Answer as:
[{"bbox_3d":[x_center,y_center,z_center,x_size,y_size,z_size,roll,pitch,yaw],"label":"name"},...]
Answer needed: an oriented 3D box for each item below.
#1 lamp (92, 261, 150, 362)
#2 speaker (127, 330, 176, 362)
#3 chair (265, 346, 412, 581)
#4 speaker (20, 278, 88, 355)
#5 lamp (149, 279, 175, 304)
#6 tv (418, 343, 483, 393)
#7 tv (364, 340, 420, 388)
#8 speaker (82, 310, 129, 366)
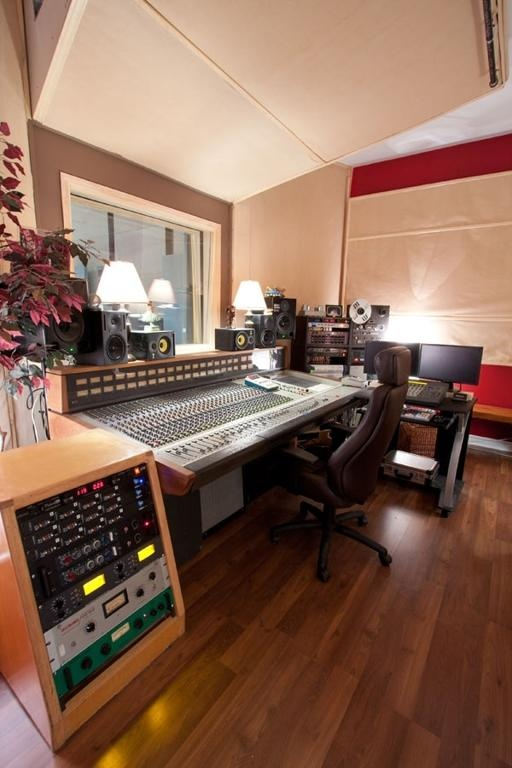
[{"bbox_3d":[-0.659,-0.433,2.213,0.216,0.233,0.227,-19,35,-34],"label":"lamp"},{"bbox_3d":[-0.504,-0.211,2.264,0.161,0.111,0.161,10,14,33],"label":"speaker"},{"bbox_3d":[0.400,0.298,2.184,0.548,1.057,0.552,-12,22,-41],"label":"chair"},{"bbox_3d":[-0.813,-0.277,1.906,0.219,0.301,0.192,3,5,29],"label":"speaker"},{"bbox_3d":[-0.607,-0.610,3.051,0.149,0.163,0.158,4,7,12],"label":"lamp"},{"bbox_3d":[1.266,-0.116,3.047,0.321,0.242,0.101,15,38,42],"label":"tv"},{"bbox_3d":[0.746,-0.115,2.503,0.031,0.223,0.290,-6,13,-44],"label":"tv"},{"bbox_3d":[-0.664,-0.205,1.999,0.208,0.249,0.116,-4,15,-21],"label":"speaker"}]
